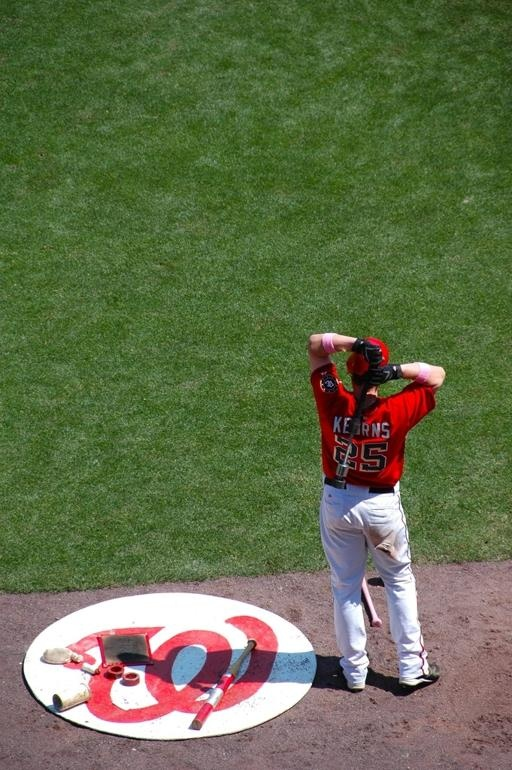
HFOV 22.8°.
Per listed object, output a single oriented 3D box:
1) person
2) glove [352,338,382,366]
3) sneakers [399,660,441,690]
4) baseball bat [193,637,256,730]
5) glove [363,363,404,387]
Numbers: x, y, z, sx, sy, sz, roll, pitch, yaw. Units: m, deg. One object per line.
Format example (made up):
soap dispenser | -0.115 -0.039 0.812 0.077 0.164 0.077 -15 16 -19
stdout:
person | 0.911 0.926 9.217 0.884 2.575 0.966 -4 24 7
glove | 0.784 -0.231 8.945 0.208 0.199 0.295 -4 22 4
sneakers | 1.223 2.165 9.323 0.133 0.152 0.366 18 27 41
baseball bat | -0.200 2.168 9.364 0.144 0.124 1.025 27 31 10
glove | 0.912 -0.073 8.922 0.306 0.181 0.109 -19 26 -30
